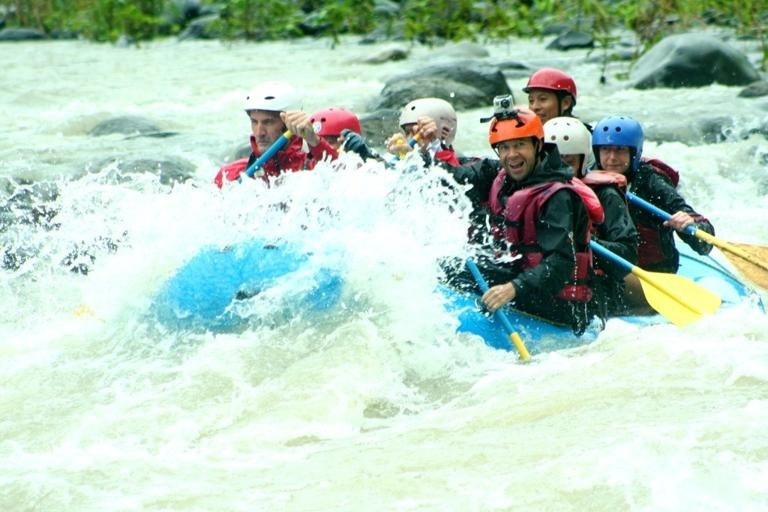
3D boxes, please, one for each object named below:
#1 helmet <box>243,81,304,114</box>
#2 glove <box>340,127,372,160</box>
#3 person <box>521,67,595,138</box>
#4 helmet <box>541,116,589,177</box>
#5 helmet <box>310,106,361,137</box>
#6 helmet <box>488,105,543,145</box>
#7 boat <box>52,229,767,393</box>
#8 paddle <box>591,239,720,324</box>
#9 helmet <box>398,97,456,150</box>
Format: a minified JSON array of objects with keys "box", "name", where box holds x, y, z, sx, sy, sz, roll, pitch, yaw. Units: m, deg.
[{"box":[-1.050,-1.501,9.860,0.420,0.258,0.436,4,21,16],"name":"helmet"},{"box":[-0.263,-1.065,9.985,0.330,0.243,0.138,43,56,16],"name":"glove"},{"box":[1.822,-1.695,11.387,0.843,0.608,0.660,6,-7,-40],"name":"person"},{"box":[1.762,-1.034,9.804,0.411,0.466,0.510,2,34,14],"name":"helmet"},{"box":[-0.477,-1.321,10.263,0.412,0.239,0.284,-15,12,-22],"name":"helmet"},{"box":[1.127,-1.096,8.940,0.302,0.394,0.264,-6,20,15],"name":"helmet"},{"box":[0.266,0.419,9.051,3.888,0.610,1.948,6,-1,-3],"name":"boat"},{"box":[2.373,0.090,9.613,0.537,0.235,1.570,-31,40,-25],"name":"paddle"},{"box":[0.439,-1.324,10.127,0.542,0.388,0.387,4,-3,-25],"name":"helmet"}]
